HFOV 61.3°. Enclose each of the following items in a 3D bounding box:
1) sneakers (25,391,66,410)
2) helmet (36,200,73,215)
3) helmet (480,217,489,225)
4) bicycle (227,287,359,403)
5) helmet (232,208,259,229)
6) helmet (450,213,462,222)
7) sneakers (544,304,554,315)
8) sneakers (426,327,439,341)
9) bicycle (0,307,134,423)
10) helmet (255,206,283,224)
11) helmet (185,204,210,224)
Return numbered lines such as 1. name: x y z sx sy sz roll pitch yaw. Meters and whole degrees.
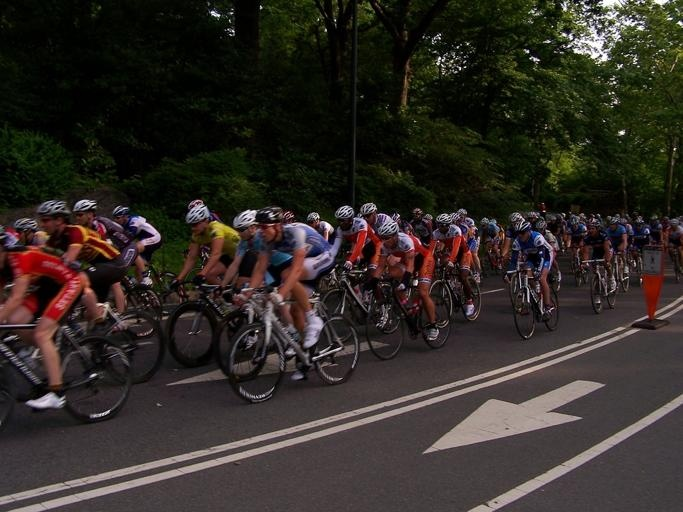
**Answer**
1. sneakers: -2.939 1.454 5.753 0.341 0.133 0.173 6 -3 -14
2. helmet: -3.281 -0.540 6.646 0.240 0.131 0.334 4 5 17
3. helmet: 5.318 -1.253 21.128 0.307 0.155 0.420 4 17 23
4. bicycle: -0.617 1.025 7.149 1.919 1.316 0.467 -4 6 -43
5. helmet: -1.296 -0.528 7.894 0.247 0.123 0.349 9 21 31
6. helmet: 3.004 -0.999 14.868 0.351 0.152 0.471 4 1 6
7. sneakers: 3.924 1.004 10.818 0.194 0.076 0.204 22 4 38
8. sneakers: 1.516 1.287 9.470 0.190 0.197 0.079 11 0 -19
9. bicycle: -2.935 1.210 6.114 1.299 1.112 0.528 -3 6 -41
10. helmet: -0.838 -0.487 6.888 0.205 0.148 0.258 -1 1 20
11. helmet: -2.157 -0.616 8.768 0.247 0.165 0.345 9 26 29
